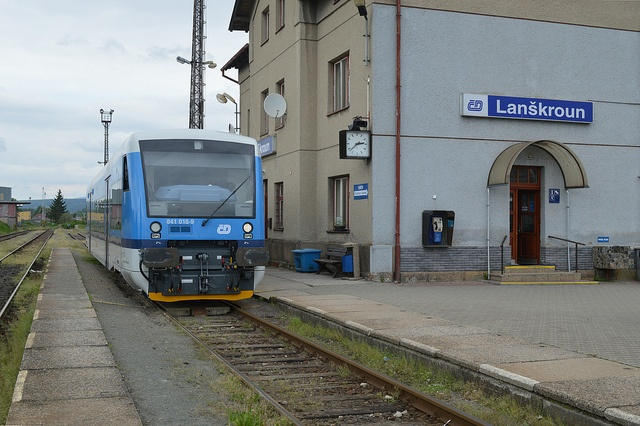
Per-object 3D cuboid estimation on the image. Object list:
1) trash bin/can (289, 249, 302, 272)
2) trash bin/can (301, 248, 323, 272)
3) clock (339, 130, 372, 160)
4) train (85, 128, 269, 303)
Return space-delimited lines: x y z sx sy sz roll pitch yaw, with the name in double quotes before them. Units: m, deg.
"trash bin/can" -0.786 1.873 22.648 0.678 0.972 0.676 2 -5 -14
"trash bin/can" -0.257 1.792 22.044 0.813 0.843 0.472 3 -3 -24
"clock" 1.334 -2.345 19.478 0.924 0.904 0.564 3 13 17
"train" -4.153 0.062 14.744 5.762 4.184 2.469 -1 -4 42
